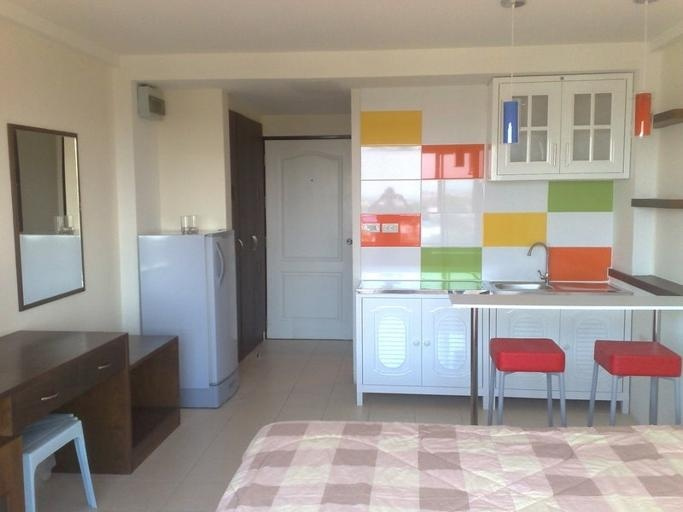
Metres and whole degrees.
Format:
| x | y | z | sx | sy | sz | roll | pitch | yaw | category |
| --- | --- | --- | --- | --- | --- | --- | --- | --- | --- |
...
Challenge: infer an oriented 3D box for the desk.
| x | y | z | sx | sy | sz | roll | pitch | yaw | category |
| --- | --- | --- | --- | --- | --- | --- | --- | --- | --- |
| 1.454 | 0.665 | 3.745 | 1.418 | 0.969 | 0.964 | 0 | 11 | 10 | desk |

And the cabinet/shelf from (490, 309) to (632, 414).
| x | y | z | sx | sy | sz | roll | pitch | yaw | category |
| --- | --- | --- | --- | --- | --- | --- | --- | --- | --- |
| 1.665 | 0.753 | 4.154 | 0.917 | 0.682 | 0.329 | 0 | -1 | 6 | cabinet/shelf |

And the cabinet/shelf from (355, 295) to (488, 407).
| x | y | z | sx | sy | sz | roll | pitch | yaw | category |
| --- | --- | --- | --- | --- | --- | --- | --- | --- | --- |
| 0.657 | 0.735 | 4.536 | 1.030 | 0.857 | 0.398 | 0 | 1 | 5 | cabinet/shelf |

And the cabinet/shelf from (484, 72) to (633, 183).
| x | y | z | sx | sy | sz | roll | pitch | yaw | category |
| --- | --- | --- | --- | --- | --- | --- | --- | --- | --- |
| 1.822 | -1.063 | 4.508 | 0.872 | 0.714 | 0.332 | 1 | 5 | 8 | cabinet/shelf |

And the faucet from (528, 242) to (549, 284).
| x | y | z | sx | sy | sz | roll | pitch | yaw | category |
| --- | --- | --- | --- | --- | --- | --- | --- | --- | --- |
| 1.751 | 0.050 | 4.902 | 0.194 | 0.338 | 0.150 | 2 | 11 | 19 | faucet |
